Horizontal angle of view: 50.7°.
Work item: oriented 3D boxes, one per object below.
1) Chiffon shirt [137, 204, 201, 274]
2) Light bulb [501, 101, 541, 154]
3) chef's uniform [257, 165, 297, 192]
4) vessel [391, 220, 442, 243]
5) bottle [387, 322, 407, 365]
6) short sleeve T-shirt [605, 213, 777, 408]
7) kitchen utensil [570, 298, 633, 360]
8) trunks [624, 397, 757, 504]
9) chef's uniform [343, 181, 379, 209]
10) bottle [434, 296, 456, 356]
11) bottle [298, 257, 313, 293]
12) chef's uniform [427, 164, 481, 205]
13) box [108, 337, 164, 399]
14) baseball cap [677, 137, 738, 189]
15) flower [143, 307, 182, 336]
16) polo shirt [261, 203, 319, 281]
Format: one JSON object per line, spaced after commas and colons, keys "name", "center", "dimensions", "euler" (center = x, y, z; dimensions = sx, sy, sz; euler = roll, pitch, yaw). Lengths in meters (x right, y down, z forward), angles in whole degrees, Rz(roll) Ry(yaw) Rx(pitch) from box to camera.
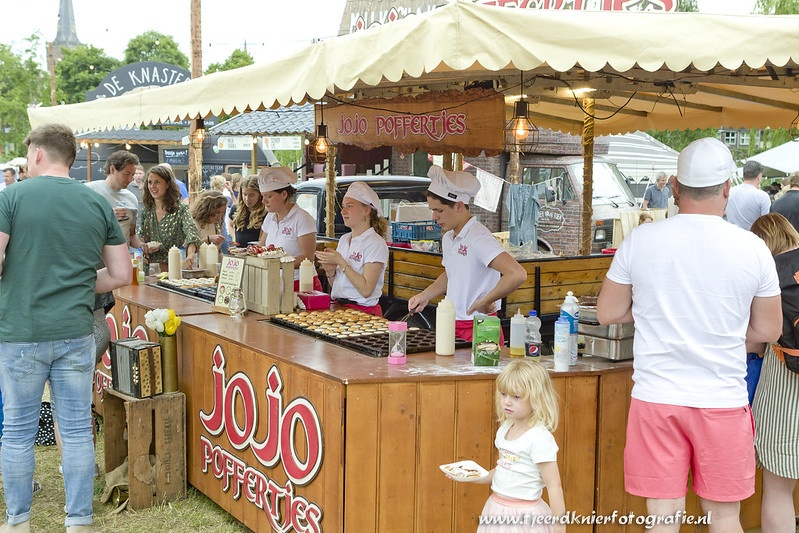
{"name": "Chiffon shirt", "center": [-2.267, -0.247, 8.275], "dimensions": [0.698, 0.620, 0.357], "euler": [6, 0, 6]}
{"name": "Light bulb", "center": [1.197, -1.382, 8.272], "dimensions": [0.355, 0.505, 0.346], "euler": [-11, 16, -42]}
{"name": "chef's uniform", "center": [-1.078, -0.772, 7.495], "dimensions": [0.223, 0.174, 0.294], "euler": [1, 9, 41]}
{"name": "vessel", "center": [0.235, -0.420, 10.244], "dimensions": [0.445, 0.151, 0.300], "euler": [-6, 7, -42]}
{"name": "bottle", "center": [-0.011, 0.484, 5.353], "dimensions": [0.113, 0.258, 0.192], "euler": [-1, 4, -1]}
{"name": "short sleeve T-shirt", "center": [1.661, 0.240, 4.902], "dimensions": [1.068, 1.067, 0.549], "euler": [2, -2, 20]}
{"name": "kitchen utensil", "center": [1.274, 0.412, 5.332], "dimensions": [0.360, 0.248, 0.337], "euler": [1, -1, -33]}
{"name": "trunks", "center": [1.699, 0.971, 4.924], "dimensions": [0.925, 0.643, 0.534], "euler": [0, 5, 20]}
{"name": "chef's uniform", "center": [-0.276, -0.538, 6.705], "dimensions": [0.233, 0.086, 0.203], "euler": [23, -9, -29]}
{"name": "bottle", "center": [0.301, 0.399, 5.511], "dimensions": [0.131, 0.366, 0.220], "euler": [-1, 4, 2]}
{"name": "bottle", "center": [-0.754, 0.081, 6.890], "dimensions": [0.158, 0.268, 0.153], "euler": [2, 10, 0]}
{"name": "chef's uniform", "center": [0.392, -0.589, 6.044], "dimensions": [0.310, 0.174, 0.271], "euler": [16, 22, -1]}
{"name": "box", "center": [-2.019, 0.750, 6.101], "dimensions": [0.311, 0.435, 0.463], "euler": [-2, 5, -42]}
{"name": "baseball cap", "center": [1.735, -0.564, 4.752], "dimensions": [0.230, 0.143, 0.338], "euler": [5, 46, 35]}
{"name": "flower", "center": [-1.720, 0.399, 6.193], "dimensions": [0.224, 0.238, 0.193], "euler": [-22, 5, -18]}
{"name": "polo shirt", "center": [-0.946, -0.193, 7.244], "dimensions": [0.689, 0.693, 0.393], "euler": [10, 7, 43]}
